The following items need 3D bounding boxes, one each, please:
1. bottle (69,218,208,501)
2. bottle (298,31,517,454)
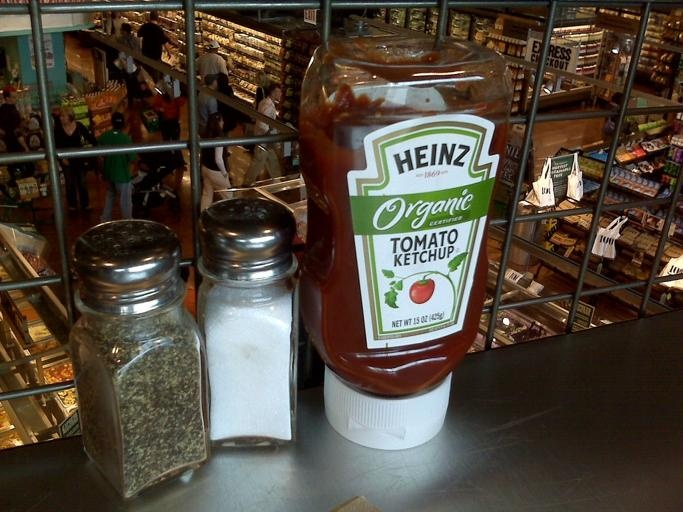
[{"bbox_3d":[-0.281,0.138,0.707,0.170,0.362,0.149,-19,35,-32],"label":"bottle"},{"bbox_3d":[0.080,-0.017,0.794,0.281,0.579,0.298,1,29,0],"label":"bottle"}]
